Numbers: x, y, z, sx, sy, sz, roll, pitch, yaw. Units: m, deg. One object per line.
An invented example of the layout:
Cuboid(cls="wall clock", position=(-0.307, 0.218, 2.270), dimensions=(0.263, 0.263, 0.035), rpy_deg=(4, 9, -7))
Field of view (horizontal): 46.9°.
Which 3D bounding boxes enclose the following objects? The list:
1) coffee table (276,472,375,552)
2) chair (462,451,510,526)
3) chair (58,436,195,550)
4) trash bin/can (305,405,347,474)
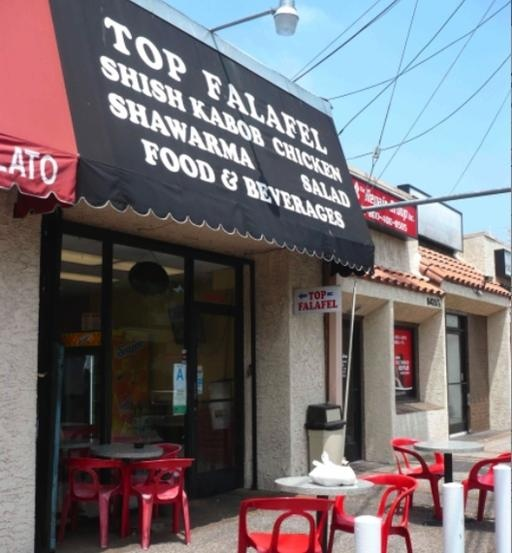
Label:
Cuboid(cls="coffee table", position=(0.512, 1.941, 4.522), dimensions=(0.590, 0.871, 0.657), rpy_deg=(1, -11, -4))
Cuboid(cls="chair", position=(2.766, 2.391, 6.954), dimensions=(0.464, 0.680, 2.433), rpy_deg=(-5, -10, 22))
Cuboid(cls="chair", position=(-1.261, 2.074, 5.673), dimensions=(0.954, 0.836, 1.028), rpy_deg=(6, -14, -13))
Cuboid(cls="trash bin/can", position=(0.949, 2.176, 7.967), dimensions=(0.545, 0.866, 0.462), rpy_deg=(-1, -8, 2))
